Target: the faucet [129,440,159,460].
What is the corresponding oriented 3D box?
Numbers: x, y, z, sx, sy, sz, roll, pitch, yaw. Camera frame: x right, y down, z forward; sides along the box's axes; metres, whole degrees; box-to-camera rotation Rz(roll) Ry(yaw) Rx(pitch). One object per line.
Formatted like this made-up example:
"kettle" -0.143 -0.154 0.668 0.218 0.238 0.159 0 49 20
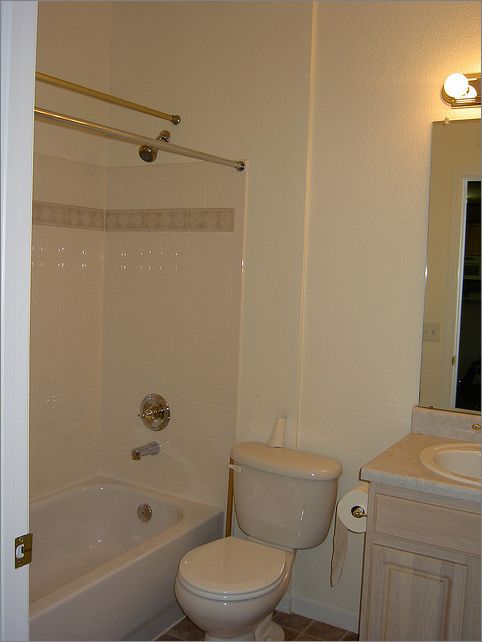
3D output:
"faucet" -0.440 0.596 2.361 0.069 0.066 0.121 7 10 32
